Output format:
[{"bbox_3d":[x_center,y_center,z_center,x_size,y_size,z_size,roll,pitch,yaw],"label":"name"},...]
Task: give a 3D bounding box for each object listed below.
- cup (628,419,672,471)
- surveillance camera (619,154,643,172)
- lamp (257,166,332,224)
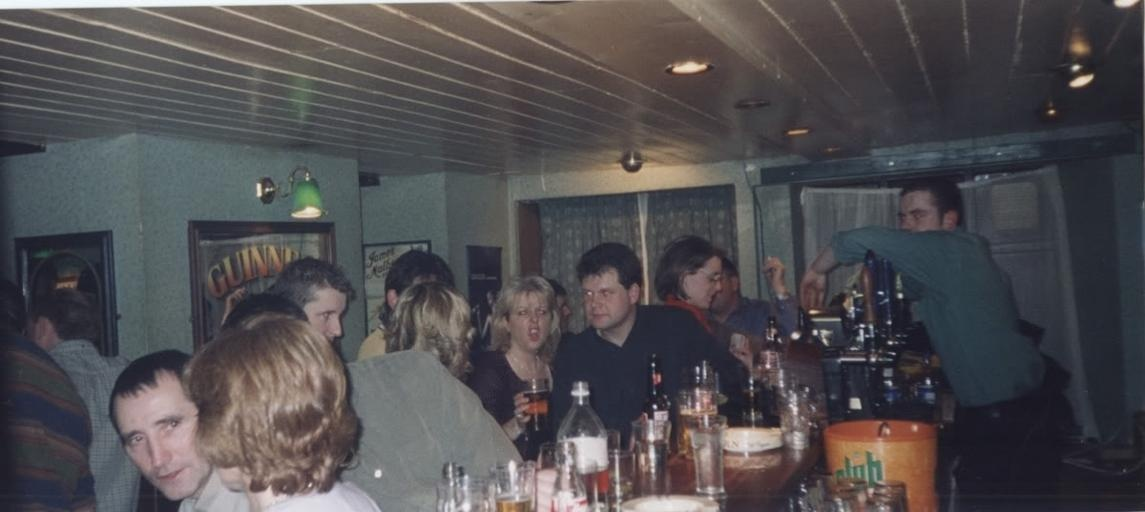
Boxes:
[{"bbox_3d":[0.646,1.541,6.908,0.308,0.408,0.164,-3,-3,8],"label":"cup"},{"bbox_3d":[0.738,-1.155,10.391,0.268,0.159,0.233,1,-1,4],"label":"surveillance camera"},{"bbox_3d":[-3.085,-0.759,9.605,0.625,0.612,0.810,-6,-5,43],"label":"lamp"}]
